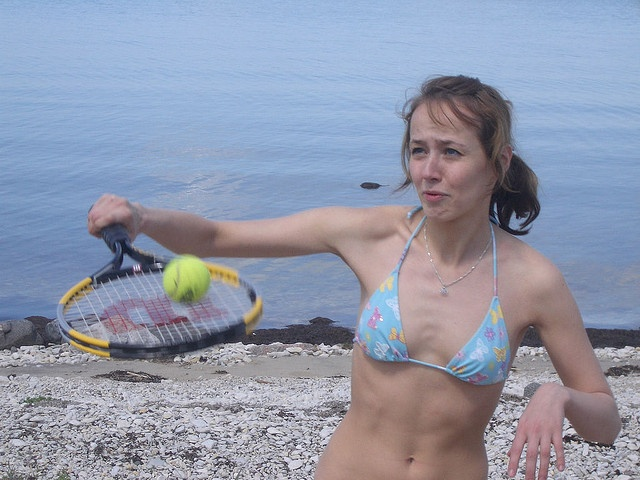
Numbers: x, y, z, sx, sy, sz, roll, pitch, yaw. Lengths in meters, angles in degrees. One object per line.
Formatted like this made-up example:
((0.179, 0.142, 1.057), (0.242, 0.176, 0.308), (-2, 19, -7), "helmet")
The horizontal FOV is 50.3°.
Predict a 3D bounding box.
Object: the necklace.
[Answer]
((0.867, 0.094, 4.196), (0.315, 0.093, 0.497), (19, 59, 6), "necklace")
